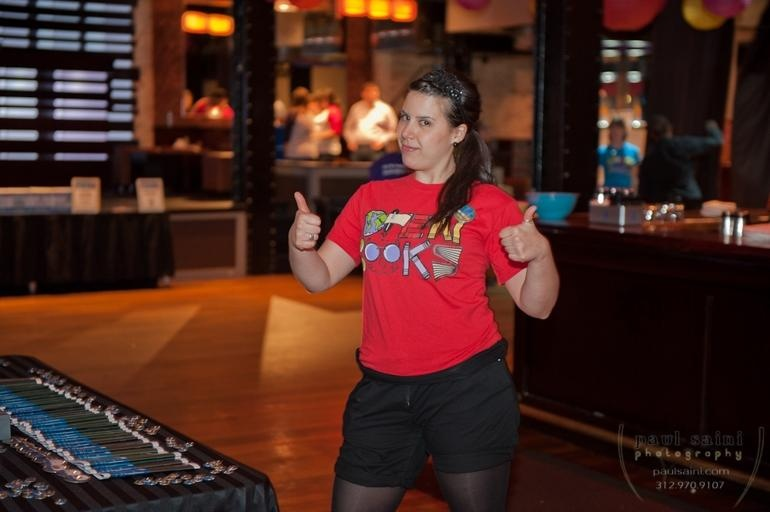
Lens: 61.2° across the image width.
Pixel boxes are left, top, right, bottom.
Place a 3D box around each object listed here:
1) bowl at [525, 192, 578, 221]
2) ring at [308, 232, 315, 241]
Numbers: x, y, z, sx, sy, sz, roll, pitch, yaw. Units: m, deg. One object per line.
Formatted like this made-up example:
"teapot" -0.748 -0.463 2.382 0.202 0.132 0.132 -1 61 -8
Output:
"bowl" 0.945 -0.271 3.665 0.350 0.175 0.335 0 -1 0
"ring" -0.198 -0.051 1.744 0.018 0.016 0.005 -4 45 -9
